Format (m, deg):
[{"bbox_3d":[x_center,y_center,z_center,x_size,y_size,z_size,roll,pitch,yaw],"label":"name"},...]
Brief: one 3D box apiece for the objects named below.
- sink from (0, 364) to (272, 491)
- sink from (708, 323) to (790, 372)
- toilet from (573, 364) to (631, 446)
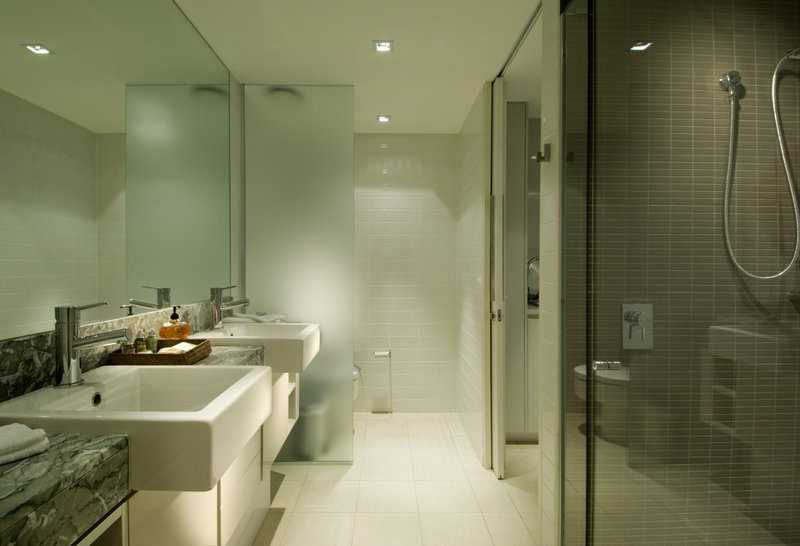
[{"bbox_3d":[-0.973,0.576,2.438,0.560,0.177,0.618,1,1,0],"label":"sink"},{"bbox_3d":[1.270,0.273,2.315,0.249,0.131,0.161,6,4,36],"label":"sink"},{"bbox_3d":[0.985,0.571,2.863,0.224,0.287,0.307,-3,15,25],"label":"toilet"}]
